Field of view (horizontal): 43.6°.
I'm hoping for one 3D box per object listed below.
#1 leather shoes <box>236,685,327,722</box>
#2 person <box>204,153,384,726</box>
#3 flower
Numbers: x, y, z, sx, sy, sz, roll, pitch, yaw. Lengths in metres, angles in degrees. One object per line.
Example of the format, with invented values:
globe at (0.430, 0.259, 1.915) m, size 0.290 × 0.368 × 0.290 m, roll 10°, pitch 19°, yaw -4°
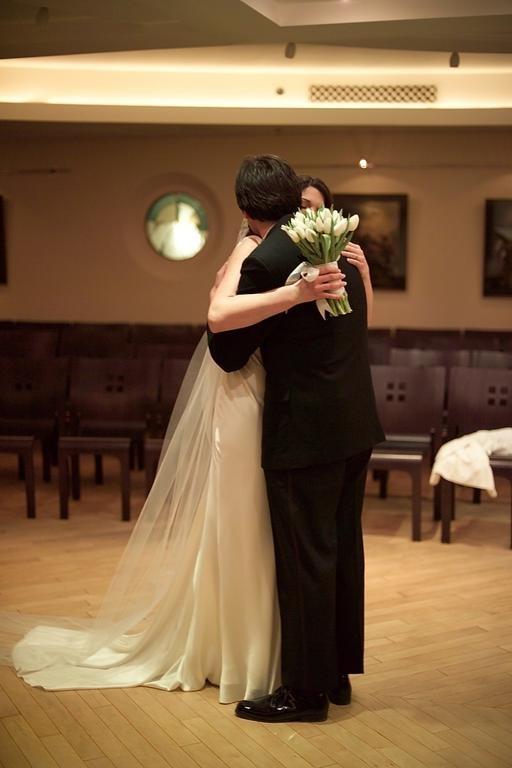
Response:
leather shoes at (0.065, 0.719, 1.471) m, size 0.212 × 0.090 × 0.078 m, roll 4°, pitch -8°, yaw 4°
person at (0.083, 0.139, 1.411) m, size 0.363 × 1.251 × 0.451 m, roll 1°, pitch -1°, yaw 15°
flower at (0.143, -0.233, 1.225) m, size 0.136 × 0.179 × 0.131 m, roll -13°, pitch 14°, yaw -19°
